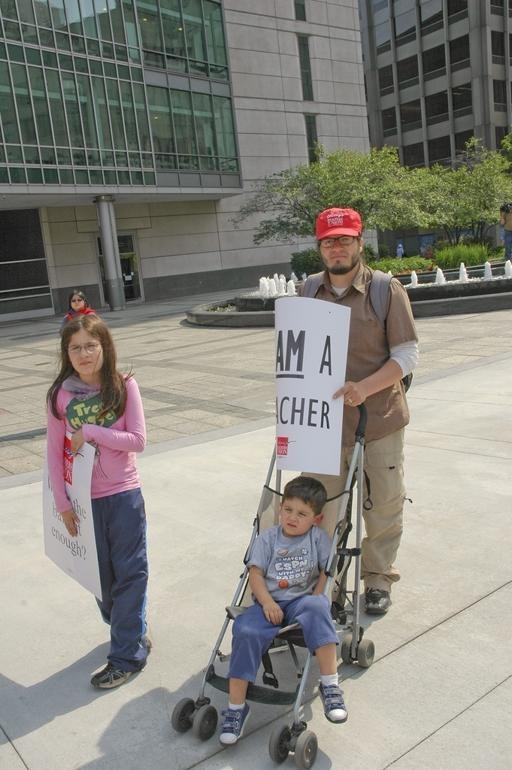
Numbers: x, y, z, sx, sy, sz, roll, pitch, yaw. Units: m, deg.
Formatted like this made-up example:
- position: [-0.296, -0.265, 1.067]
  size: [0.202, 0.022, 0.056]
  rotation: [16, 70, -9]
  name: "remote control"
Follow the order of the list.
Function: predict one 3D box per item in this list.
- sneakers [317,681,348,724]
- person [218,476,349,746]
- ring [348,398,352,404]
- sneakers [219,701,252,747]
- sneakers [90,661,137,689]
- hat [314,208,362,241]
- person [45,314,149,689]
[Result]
- position: [0.258, 1.068, 2.144]
  size: [0.059, 0.068, 0.176]
  rotation: [-1, -11, -3]
  name: "sneakers"
- position: [0.063, 0.820, 2.361]
  size: [0.468, 0.783, 0.682]
  rotation: [-6, 11, 5]
  name: "person"
- position: [0.381, 0.065, 2.596]
  size: [0.015, 0.015, 0.004]
  rotation: [-2, -3, 27]
  name: "ring"
- position: [-0.072, 1.123, 2.128]
  size: [0.067, 0.079, 0.203]
  rotation: [-6, -11, 8]
  name: "sneakers"
- position: [-0.624, 1.232, 2.728]
  size: [0.087, 0.059, 0.153]
  rotation: [-2, -6, 44]
  name: "sneakers"
- position: [0.357, -0.708, 2.809]
  size: [0.192, 0.144, 0.214]
  rotation: [-2, 12, 22]
  name: "hat"
- position: [-0.669, 0.475, 2.851]
  size: [0.462, 1.559, 0.552]
  rotation: [-11, 12, -19]
  name: "person"
